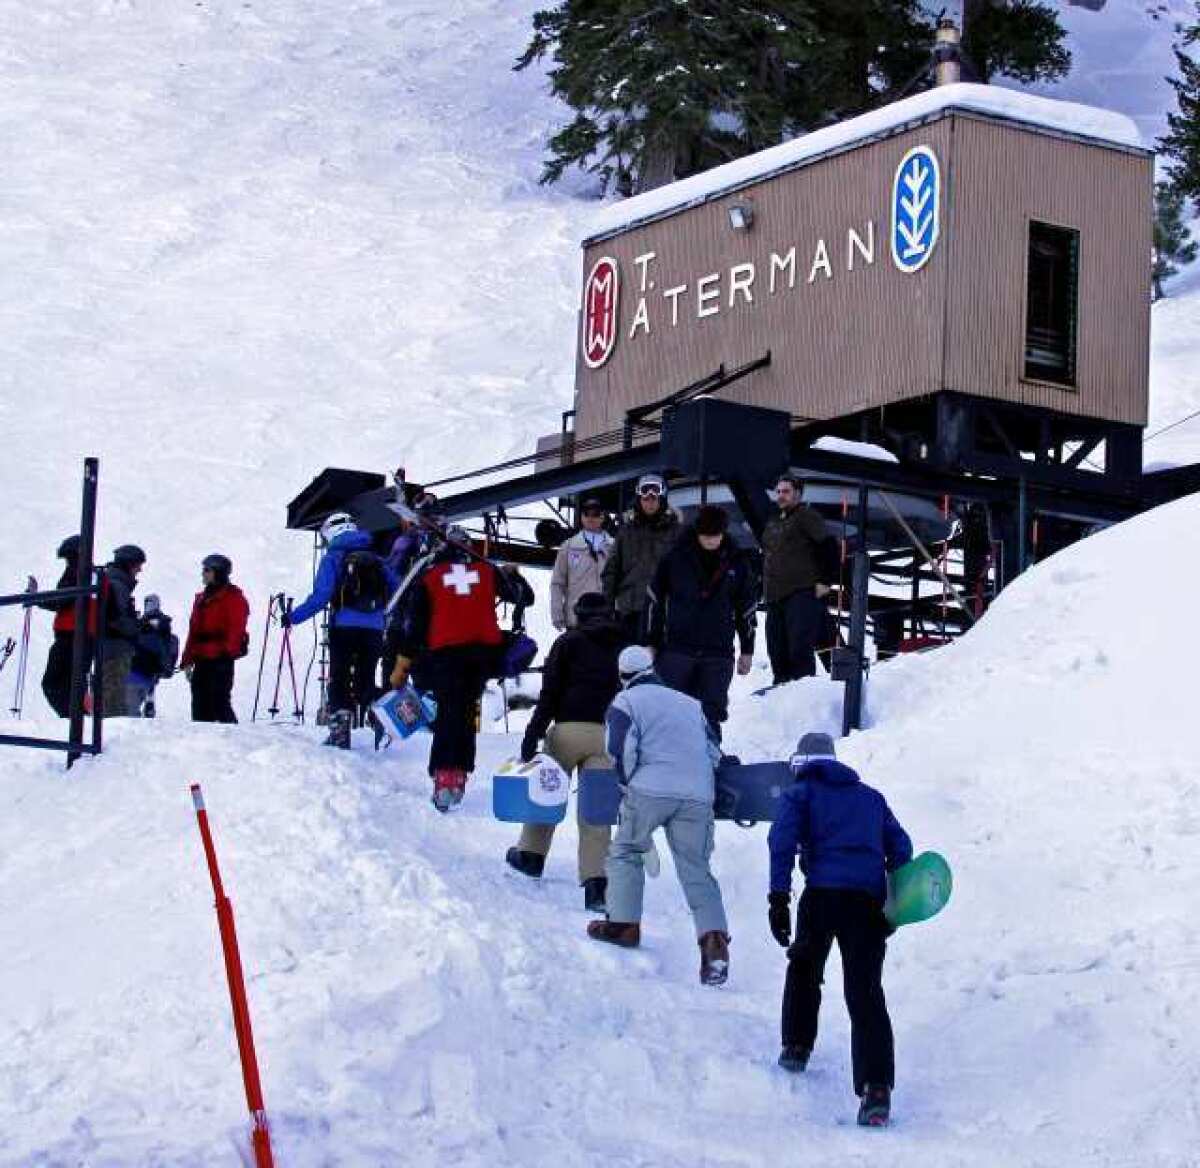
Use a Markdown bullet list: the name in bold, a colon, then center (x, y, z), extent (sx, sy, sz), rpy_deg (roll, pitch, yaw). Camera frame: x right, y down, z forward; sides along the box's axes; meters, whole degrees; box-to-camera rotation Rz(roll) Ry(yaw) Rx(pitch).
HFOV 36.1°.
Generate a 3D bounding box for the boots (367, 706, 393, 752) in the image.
- **boots**: center (-1.691, 1.137, 14.138), extent (0.199, 0.284, 0.686), rpy_deg (-1, -17, -6)

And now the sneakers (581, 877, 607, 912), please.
- **sneakers**: center (-0.034, 1.679, 10.004), extent (0.116, 0.171, 0.168), rpy_deg (2, -12, -9)

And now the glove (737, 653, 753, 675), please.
- **glove**: center (0.938, 0.525, 11.981), extent (0.089, 0.128, 0.120), rpy_deg (8, -7, -44)

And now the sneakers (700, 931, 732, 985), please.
- **sneakers**: center (0.567, 1.905, 9.270), extent (0.107, 0.333, 0.232), rpy_deg (2, 39, -1)

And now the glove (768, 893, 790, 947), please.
- **glove**: center (0.799, 1.501, 8.271), extent (0.086, 0.235, 0.265), rpy_deg (1, -2, 5)

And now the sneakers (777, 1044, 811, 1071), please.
- **sneakers**: center (0.884, 2.177, 8.511), extent (0.085, 0.147, 0.146), rpy_deg (3, 5, -12)

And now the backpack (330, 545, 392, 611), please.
- **backpack**: center (-1.708, -0.016, 13.289), extent (0.322, 0.471, 0.443), rpy_deg (4, -42, -7)

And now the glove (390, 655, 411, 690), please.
- **glove**: center (-1.263, 0.553, 11.961), extent (0.084, 0.181, 0.238), rpy_deg (23, -39, -23)

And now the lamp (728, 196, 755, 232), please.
- **lamp**: center (1.502, -3.987, 20.009), extent (0.211, 0.308, 0.449), rpy_deg (2, -2, -25)

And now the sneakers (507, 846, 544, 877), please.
- **sneakers**: center (-0.435, 1.569, 10.443), extent (0.183, 0.196, 0.120), rpy_deg (5, -2, 17)

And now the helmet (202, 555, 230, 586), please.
- **helmet**: center (-2.838, -0.112, 13.613), extent (0.221, 0.242, 0.188), rpy_deg (8, -1, 11)

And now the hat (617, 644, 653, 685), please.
- **hat**: center (0.188, 0.428, 9.632), extent (0.193, 0.215, 0.157), rpy_deg (-9, 12, 12)

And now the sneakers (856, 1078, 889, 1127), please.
- **sneakers**: center (1.180, 2.239, 7.961), extent (0.154, 0.188, 0.127), rpy_deg (1, -2, -3)

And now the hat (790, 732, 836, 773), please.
- **hat**: center (0.984, 0.793, 8.584), extent (0.143, 0.201, 0.197), rpy_deg (8, 4, 2)
